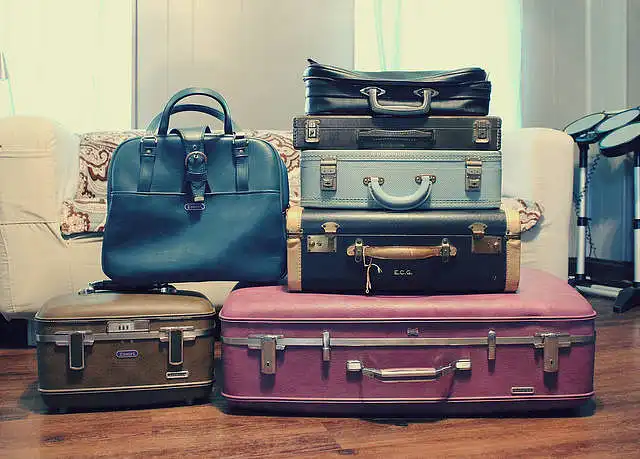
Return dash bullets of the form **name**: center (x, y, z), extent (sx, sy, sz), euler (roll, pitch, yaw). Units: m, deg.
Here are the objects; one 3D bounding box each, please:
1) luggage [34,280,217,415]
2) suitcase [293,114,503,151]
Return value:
- **luggage**: center (-0.846, 0.474, 3.028), extent (0.761, 0.489, 0.561), euler (1, 2, -23)
- **suitcase**: center (0.320, -0.405, 2.948), extent (0.868, 0.174, 0.042), euler (-2, 11, 0)
